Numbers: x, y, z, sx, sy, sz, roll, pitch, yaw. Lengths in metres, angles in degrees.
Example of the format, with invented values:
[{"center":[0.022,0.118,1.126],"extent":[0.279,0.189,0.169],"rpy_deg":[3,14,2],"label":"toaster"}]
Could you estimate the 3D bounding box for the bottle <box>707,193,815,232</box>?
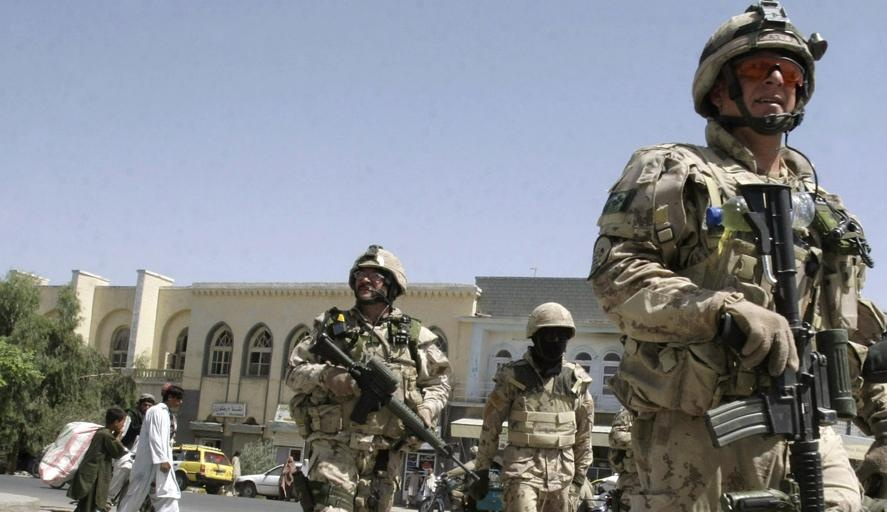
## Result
[{"center":[2.286,-0.303,6.683],"extent":[1.042,0.318,0.297],"rpy_deg":[-1,1,-11],"label":"bottle"}]
